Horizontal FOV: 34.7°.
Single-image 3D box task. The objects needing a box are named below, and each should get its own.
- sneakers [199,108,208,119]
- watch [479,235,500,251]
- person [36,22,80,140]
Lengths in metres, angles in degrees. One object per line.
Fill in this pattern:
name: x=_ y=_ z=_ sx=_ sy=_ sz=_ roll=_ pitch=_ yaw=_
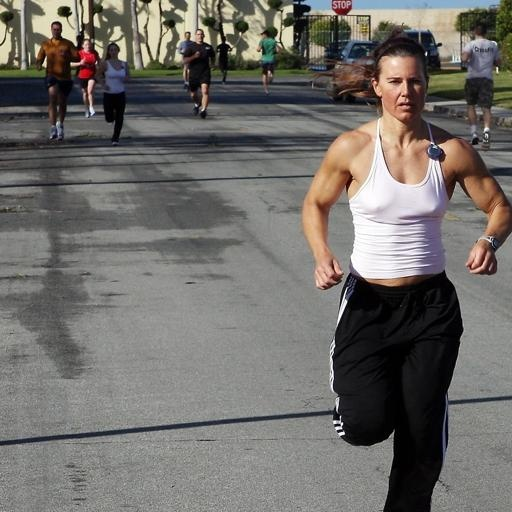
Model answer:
sneakers: x=-1.302 y=-3.445 z=19.825 sx=0.176 sy=0.196 sz=0.227 roll=0 pitch=-3 yaw=-8
watch: x=0.851 y=-0.046 z=2.987 sx=0.053 sy=0.047 sz=0.033 roll=19 pitch=50 yaw=40
person: x=-3.739 y=-3.279 z=15.421 sx=0.747 sy=2.214 sz=0.950 roll=0 pitch=16 yaw=-14
